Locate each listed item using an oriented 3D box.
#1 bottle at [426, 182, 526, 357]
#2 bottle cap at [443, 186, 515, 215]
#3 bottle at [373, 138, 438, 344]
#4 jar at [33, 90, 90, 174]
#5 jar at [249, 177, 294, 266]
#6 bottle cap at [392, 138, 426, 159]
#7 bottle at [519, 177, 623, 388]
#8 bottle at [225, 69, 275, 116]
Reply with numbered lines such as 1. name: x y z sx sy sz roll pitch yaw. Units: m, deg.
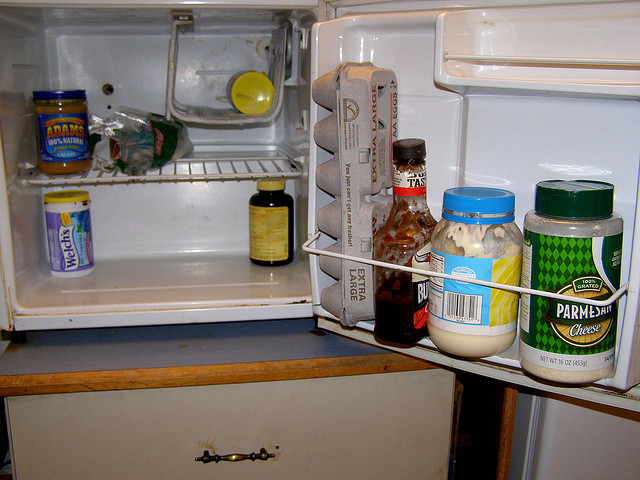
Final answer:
1. bottle: 0.276 0.063 0.993 0.159 0.308 0.191 2 15 11
2. bottle cap: 0.268 -0.065 0.940 0.088 0.034 0.095 -12 19 -39
3. bottle: 0.157 -0.006 1.055 0.109 0.346 0.153 7 21 21
4. jar: -0.643 -0.269 1.380 0.132 0.198 0.129 0 12 0
5. jar: -0.133 -0.041 1.556 0.107 0.260 0.102 1 20 0
6. bottle cap: 0.159 -0.159 0.973 0.045 0.018 0.044 2 18 10
7. bottle: 0.428 0.069 0.941 0.160 0.332 0.169 -1 14 0
8. bottle: -0.175 -0.380 1.475 0.139 0.131 0.138 -10 28 -23
